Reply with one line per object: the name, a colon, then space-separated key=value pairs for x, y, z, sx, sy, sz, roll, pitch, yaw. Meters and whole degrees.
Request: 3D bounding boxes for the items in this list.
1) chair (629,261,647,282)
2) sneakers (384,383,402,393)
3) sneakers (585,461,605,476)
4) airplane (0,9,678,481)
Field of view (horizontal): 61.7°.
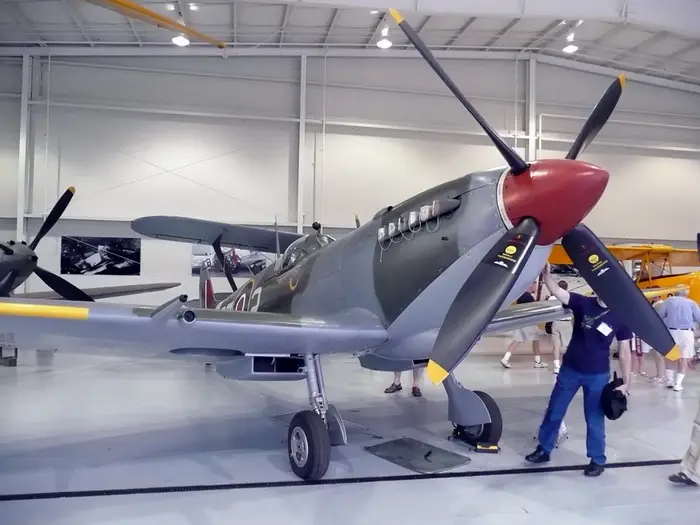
chair: x=6.323 y=0.193 z=12.789 sx=0.226 sy=0.375 sz=0.420 roll=-4 pitch=-12 yaw=42
sneakers: x=0.626 y=1.825 z=8.435 sx=0.282 sy=0.105 sz=0.093 roll=3 pitch=-8 yaw=-34
sneakers: x=2.387 y=2.021 z=5.696 sx=0.238 sy=0.090 sz=0.091 roll=13 pitch=-20 yaw=-43
airplane: x=-0.707 y=0.316 z=6.347 sx=6.049 sy=2.591 sz=5.766 roll=-11 pitch=-12 yaw=42
